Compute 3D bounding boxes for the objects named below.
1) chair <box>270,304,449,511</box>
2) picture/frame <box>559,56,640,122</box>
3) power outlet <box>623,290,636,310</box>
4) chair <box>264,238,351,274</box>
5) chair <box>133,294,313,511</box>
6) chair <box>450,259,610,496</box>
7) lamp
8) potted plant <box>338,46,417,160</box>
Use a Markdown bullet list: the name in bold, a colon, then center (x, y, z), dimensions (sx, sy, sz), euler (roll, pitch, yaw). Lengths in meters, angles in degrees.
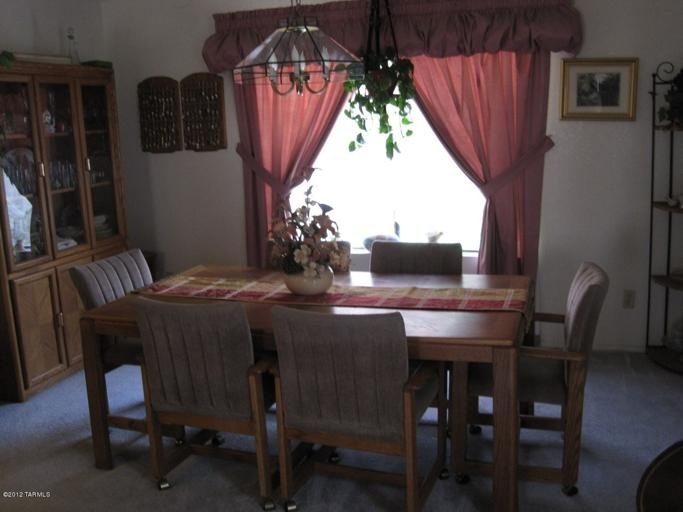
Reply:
- **chair**: center (0.089, 0.708, 2.670), dimensions (0.805, 1.078, 0.530), euler (1, 12, 10)
- **picture/frame**: center (1.863, -1.207, 3.949), dimensions (0.419, 0.413, 0.033), euler (1, 14, 8)
- **power outlet**: center (2.162, 0.317, 4.149), dimensions (0.087, 0.147, 0.023), euler (-2, 12, -3)
- **chair**: center (-0.185, -0.007, 3.138), dimensions (0.352, 0.209, 0.256), euler (1, 1, 10)
- **chair**: center (-0.613, 0.631, 3.082), dimensions (0.844, 1.367, 0.926), euler (1, 9, 12)
- **chair**: center (0.927, 0.496, 3.440), dimensions (0.971, 1.663, 1.121), euler (2, 13, 15)
- **lamp**: center (-0.293, -1.190, 3.196), dimensions (0.669, 0.555, 1.244), euler (-4, 12, -10)
- **potted plant**: center (0.305, -1.320, 4.123), dimensions (0.392, 0.535, 0.386), euler (-23, 13, -25)
